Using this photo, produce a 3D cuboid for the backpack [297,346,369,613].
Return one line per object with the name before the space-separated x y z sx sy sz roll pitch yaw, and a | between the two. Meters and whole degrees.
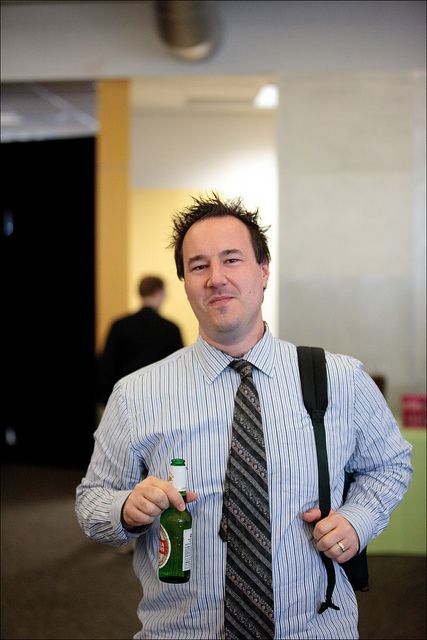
backpack | 0.284 0.365 1.402 0.152 0.581 0.262 -1 6 6
